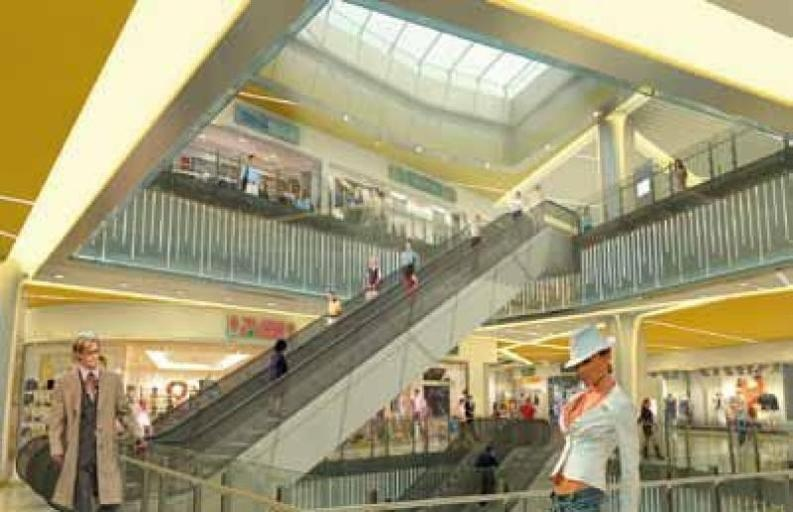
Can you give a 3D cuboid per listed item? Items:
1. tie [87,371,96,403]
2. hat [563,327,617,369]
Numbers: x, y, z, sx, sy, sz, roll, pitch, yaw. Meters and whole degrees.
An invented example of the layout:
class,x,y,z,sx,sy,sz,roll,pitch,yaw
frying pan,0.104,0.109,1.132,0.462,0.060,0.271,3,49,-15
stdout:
class,x,y,z,sx,sy,sz,roll,pitch,yaw
tie,-3.028,1.278,6.863,0.102,0.283,0.051,9,-17,-25
hat,1.519,0.728,5.832,0.506,0.283,0.554,-4,-2,23
